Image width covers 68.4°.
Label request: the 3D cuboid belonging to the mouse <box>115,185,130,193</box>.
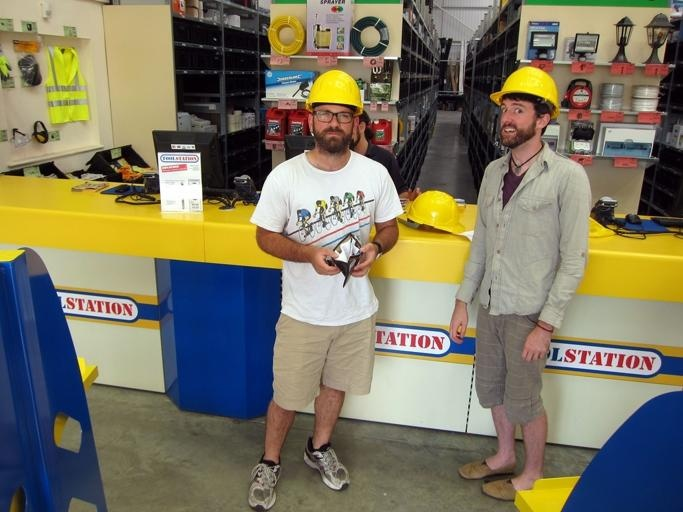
[{"bbox_3d":[-1.441,-0.443,3.332,0.084,0.036,0.088,10,21,12],"label":"mouse"}]

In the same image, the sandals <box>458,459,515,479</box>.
[{"bbox_3d":[0.786,1.153,2.724,0.280,0.112,0.112,1,12,4],"label":"sandals"}]

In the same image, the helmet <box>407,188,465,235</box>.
[{"bbox_3d":[0.511,-0.258,2.827,0.384,0.229,0.324,10,17,7],"label":"helmet"}]

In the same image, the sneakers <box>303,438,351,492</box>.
[{"bbox_3d":[-0.074,1.083,2.687,0.301,0.142,0.130,26,26,37],"label":"sneakers"}]

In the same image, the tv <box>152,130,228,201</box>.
[{"bbox_3d":[-0.998,-0.600,3.240,0.451,0.378,0.412,11,21,25],"label":"tv"}]

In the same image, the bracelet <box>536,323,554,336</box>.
[{"bbox_3d":[0.904,0.320,2.229,0.051,0.021,0.055,15,10,-38],"label":"bracelet"}]

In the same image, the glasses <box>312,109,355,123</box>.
[{"bbox_3d":[-0.033,-0.616,2.216,0.172,0.055,0.051,3,18,4],"label":"glasses"}]

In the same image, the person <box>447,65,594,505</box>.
[{"bbox_3d":[0.839,0.194,2.422,0.571,2.079,0.348,16,22,38],"label":"person"}]

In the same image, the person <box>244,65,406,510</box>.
[{"bbox_3d":[-0.084,0.190,2.425,0.767,2.044,0.519,-2,18,-9],"label":"person"}]

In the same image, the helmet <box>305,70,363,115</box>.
[{"bbox_3d":[-0.007,-0.760,2.335,0.285,0.193,0.367,2,6,12],"label":"helmet"}]

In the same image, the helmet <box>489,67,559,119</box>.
[{"bbox_3d":[0.851,-0.765,2.328,0.291,0.224,0.338,7,19,15],"label":"helmet"}]

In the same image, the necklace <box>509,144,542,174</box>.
[{"bbox_3d":[0.845,-0.446,2.302,0.033,0.134,0.119,37,6,-45],"label":"necklace"}]
